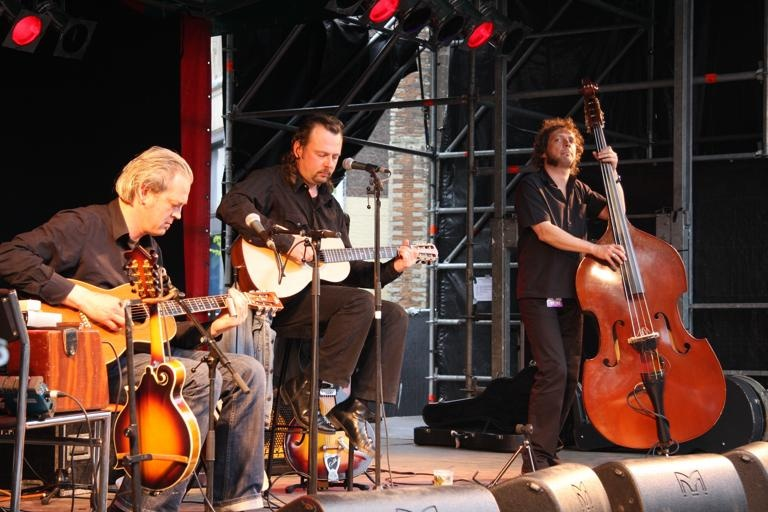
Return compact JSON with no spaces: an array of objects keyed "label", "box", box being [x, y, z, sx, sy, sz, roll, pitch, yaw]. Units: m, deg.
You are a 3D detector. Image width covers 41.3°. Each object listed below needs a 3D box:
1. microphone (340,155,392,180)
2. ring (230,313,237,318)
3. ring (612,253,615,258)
[{"label":"microphone","box":[-0.134,-0.639,7.457,0.315,0.205,0.497,1,-8,-1]},{"label":"ring","box":[-0.993,0.397,6.785,0.029,0.021,0.031,-8,-11,-2]},{"label":"ring","box":[1.802,-0.008,8.004,0.026,0.027,0.006,0,-11,5]}]
